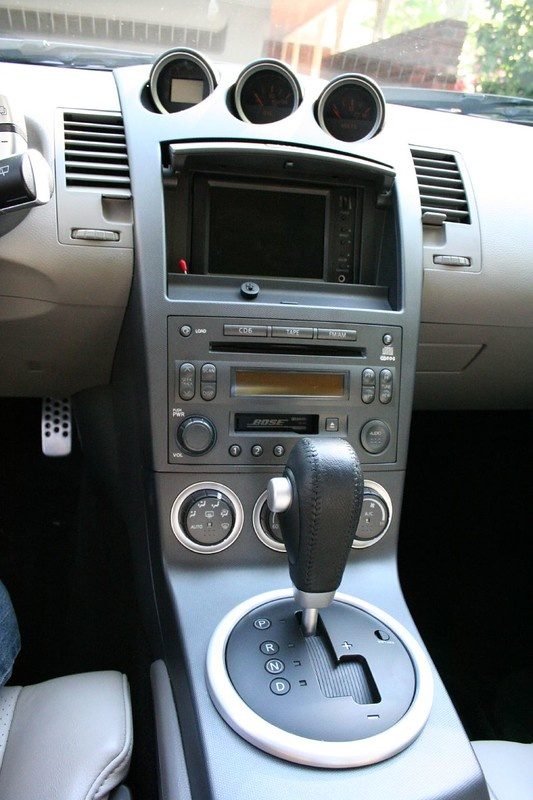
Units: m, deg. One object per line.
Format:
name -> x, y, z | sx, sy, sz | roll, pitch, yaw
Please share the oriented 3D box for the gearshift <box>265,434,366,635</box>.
gearshift -> 0.046, 0.126, 0.564 | 0.071, 0.170, 0.098 | -1, 4, -30
